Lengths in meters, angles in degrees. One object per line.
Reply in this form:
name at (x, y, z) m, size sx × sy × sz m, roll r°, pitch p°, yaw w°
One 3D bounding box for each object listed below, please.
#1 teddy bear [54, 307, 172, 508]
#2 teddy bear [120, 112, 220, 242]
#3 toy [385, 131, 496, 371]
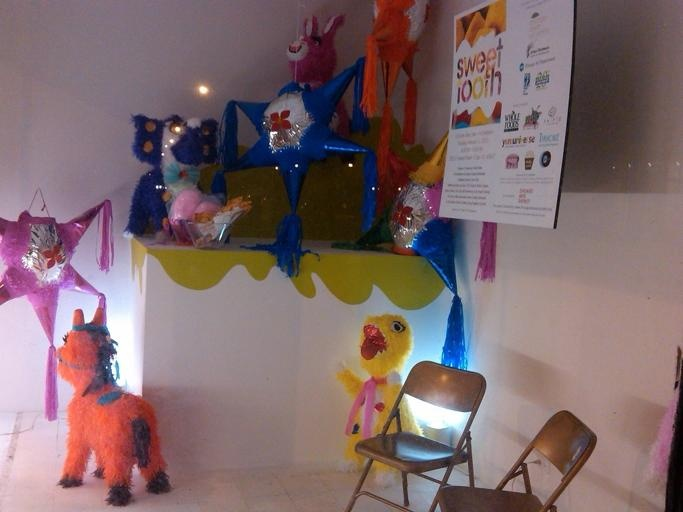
teddy bear at (-1.234, 0.780, 2.868) m, size 0.601 × 0.921 × 0.389 m, roll 11°, pitch 12°, yaw 35°
teddy bear at (-1.090, -0.492, 3.428) m, size 0.657 × 0.984 × 0.434 m, roll 4°, pitch 7°, yaw -2°
toy at (0.636, -0.041, 3.445) m, size 0.631 × 1.722 × 0.395 m, roll 3°, pitch -4°, yaw 26°
